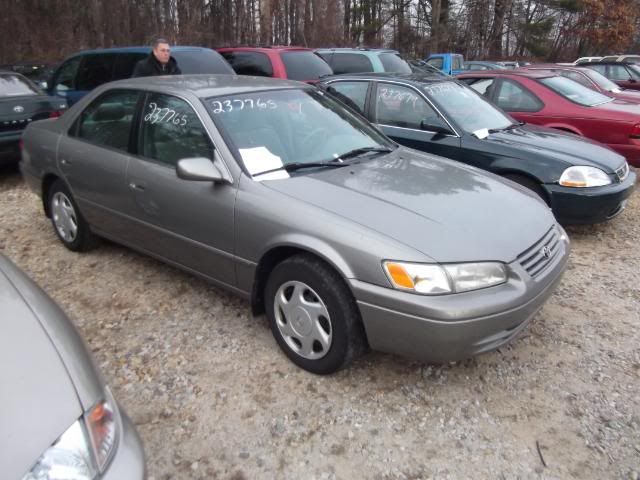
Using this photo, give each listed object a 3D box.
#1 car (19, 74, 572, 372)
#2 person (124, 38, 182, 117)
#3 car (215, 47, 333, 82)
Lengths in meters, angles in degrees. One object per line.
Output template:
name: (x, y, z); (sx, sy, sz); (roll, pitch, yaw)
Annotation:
car: (-0.763, -0.201, 3.575); (4.796, 1.438, 2.177); (18, 35, 24)
person: (-2.584, -2.717, 6.210); (0.926, 0.838, 0.464); (-13, 21, -39)
car: (-1.060, -3.840, 8.328); (2.579, 0.864, 1.163); (19, 32, 24)
